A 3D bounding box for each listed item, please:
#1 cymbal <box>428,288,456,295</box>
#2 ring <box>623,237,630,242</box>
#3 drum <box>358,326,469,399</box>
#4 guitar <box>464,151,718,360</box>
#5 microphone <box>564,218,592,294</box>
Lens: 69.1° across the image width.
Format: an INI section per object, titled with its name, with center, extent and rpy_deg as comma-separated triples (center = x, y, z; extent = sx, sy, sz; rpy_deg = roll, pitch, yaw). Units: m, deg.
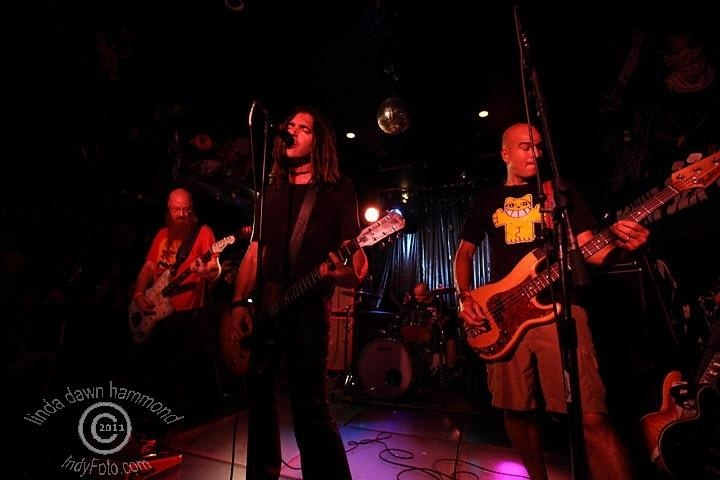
[cymbal]
center = 1.346, 0.819, 8.420
extent = 0.208, 0.232, 0.119
rpy_deg = 0, 83, -20
[ring]
center = 2.523, -0.007, 4.955
extent = 0.053, 0.044, 0.010
rpy_deg = 25, 42, -3
[drum]
center = 0.707, 1.944, 8.598
extent = 1.283, 0.916, 0.762
rpy_deg = 10, 83, -66
[guitar]
center = 2.506, 0.226, 5.479
extent = 0.305, 2.865, 0.844
rpy_deg = 24, 31, -54
[microphone]
center = 1.886, 0.102, 4.570
extent = 0.123, 0.100, 0.777
rpy_deg = 33, 50, -20
